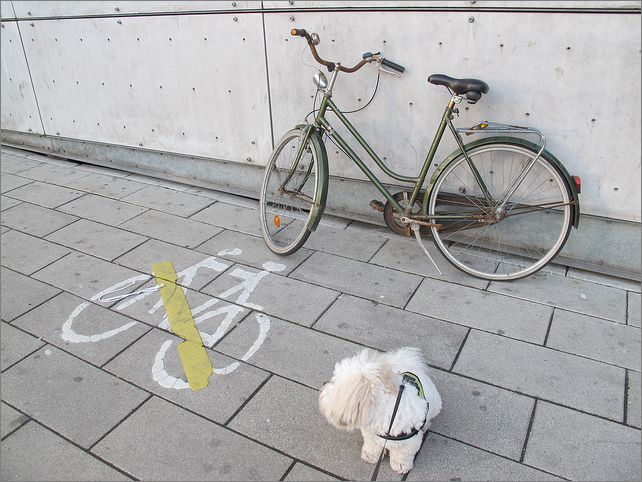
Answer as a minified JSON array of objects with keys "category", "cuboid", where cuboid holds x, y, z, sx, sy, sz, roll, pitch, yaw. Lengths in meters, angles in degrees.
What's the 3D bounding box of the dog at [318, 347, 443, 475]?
[{"category":"dog","cuboid":[0.331,0.957,2.470,0.362,0.580,0.588,5,51,31]}]
